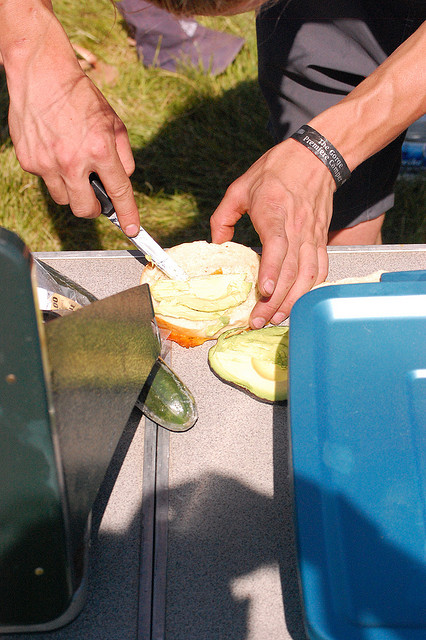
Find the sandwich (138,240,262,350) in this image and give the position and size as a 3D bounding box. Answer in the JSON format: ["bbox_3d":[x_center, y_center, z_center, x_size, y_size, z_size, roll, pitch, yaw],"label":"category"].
[{"bbox_3d":[-0.010,-0.059,0.941,0.185,0.061,0.189,-1,55,-7],"label":"sandwich"}]

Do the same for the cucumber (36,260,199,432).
[{"bbox_3d":[-0.089,0.063,0.870,0.233,0.229,0.236,16,32,25],"label":"cucumber"}]
